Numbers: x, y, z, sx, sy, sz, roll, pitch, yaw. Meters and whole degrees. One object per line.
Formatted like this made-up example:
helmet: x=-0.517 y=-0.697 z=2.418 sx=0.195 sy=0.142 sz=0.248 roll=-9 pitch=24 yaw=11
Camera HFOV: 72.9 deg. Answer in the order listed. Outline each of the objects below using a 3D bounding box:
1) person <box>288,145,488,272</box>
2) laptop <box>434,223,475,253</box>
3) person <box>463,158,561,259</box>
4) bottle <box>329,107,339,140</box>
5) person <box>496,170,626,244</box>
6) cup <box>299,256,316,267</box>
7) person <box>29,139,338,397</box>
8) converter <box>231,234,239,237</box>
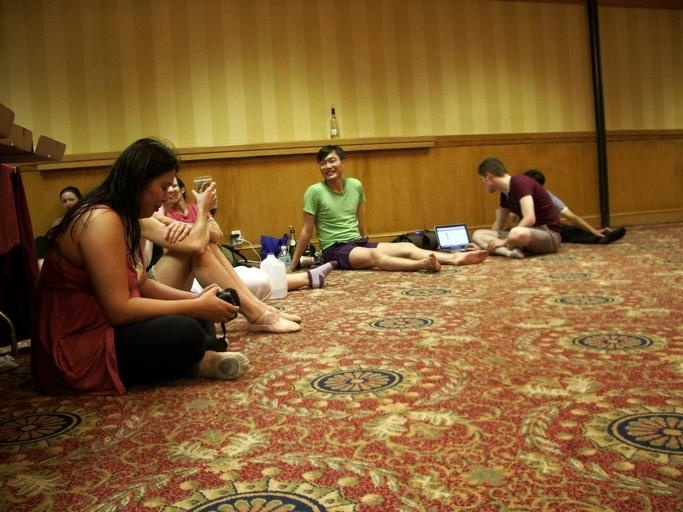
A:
person: x=0.364 y=-0.428 z=4.052 sx=1.606 sy=0.957 sz=0.953 roll=8 pitch=20 yaw=31
laptop: x=1.146 y=-0.173 z=4.782 sx=0.369 sy=0.209 sz=0.272 roll=-6 pitch=5 yaw=-28
person: x=1.483 y=-0.367 z=4.498 sx=0.935 sy=1.072 sz=0.946 roll=-7 pitch=-1 yaw=7
bottle: x=-0.084 y=-1.479 z=5.374 sx=0.121 sy=0.351 sz=0.235 roll=-5 pitch=10 yaw=0
person: x=2.231 y=-0.551 z=4.987 sx=1.388 sy=0.730 sz=0.592 roll=15 pitch=35 yaw=33
cup: x=-0.330 y=0.060 z=4.506 sx=0.126 sy=0.061 sz=0.078 roll=-10 pitch=28 yaw=-5
person: x=-0.519 y=-0.006 z=1.870 sx=0.963 sy=0.855 sz=0.706 roll=0 pitch=10 yaw=-7
converter: x=-1.069 y=-0.196 z=4.720 sx=0.049 sy=0.051 sz=0.053 roll=-1 pitch=7 yaw=0
